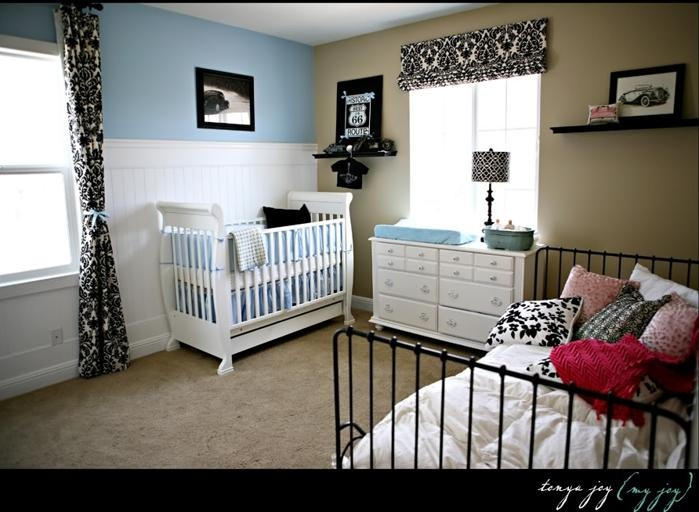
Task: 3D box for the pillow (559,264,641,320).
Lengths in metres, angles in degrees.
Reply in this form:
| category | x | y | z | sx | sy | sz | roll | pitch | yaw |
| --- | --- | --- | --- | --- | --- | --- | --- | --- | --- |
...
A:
| category | x | y | z | sx | sy | sz | roll | pitch | yaw |
| --- | --- | --- | --- | --- | --- | --- | --- | --- | --- |
| pillow | 1.485 | 0.253 | 2.959 | 0.301 | 0.306 | 0.131 | 18 | -14 | 34 |

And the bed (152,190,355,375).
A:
| category | x | y | z | sx | sy | sz | roll | pitch | yaw |
| --- | --- | --- | --- | --- | --- | --- | --- | --- | --- |
| bed | -0.772 | 0.071 | 4.271 | 0.942 | 1.214 | 1.591 | 10 | 16 | 42 |

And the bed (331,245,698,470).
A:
| category | x | y | z | sx | sy | sz | roll | pitch | yaw |
| --- | --- | --- | --- | --- | --- | --- | --- | --- | --- |
| bed | 0.924 | 0.508 | 2.613 | 1.066 | 0.697 | 1.081 | 3 | 11 | 38 |

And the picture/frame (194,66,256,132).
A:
| category | x | y | z | sx | sy | sz | roll | pitch | yaw |
| --- | --- | --- | --- | --- | --- | --- | --- | --- | --- |
| picture/frame | -1.099 | -1.361 | 4.231 | 0.043 | 0.516 | 0.619 | 14 | 17 | 43 |

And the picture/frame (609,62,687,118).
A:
| category | x | y | z | sx | sy | sz | roll | pitch | yaw |
| --- | --- | --- | --- | --- | --- | --- | --- | --- | --- |
| picture/frame | 2.007 | -1.094 | 3.239 | 0.402 | 0.288 | 0.031 | 4 | 8 | 36 |

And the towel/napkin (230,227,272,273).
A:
| category | x | y | z | sx | sy | sz | roll | pitch | yaw |
| --- | --- | --- | --- | --- | --- | --- | --- | --- | --- |
| towel/napkin | -0.724 | -0.042 | 3.605 | 0.300 | 0.307 | 0.098 | -18 | 14 | -41 |

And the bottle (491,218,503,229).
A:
| category | x | y | z | sx | sy | sz | roll | pitch | yaw |
| --- | --- | --- | --- | --- | --- | --- | --- | --- | --- |
| bottle | 1.142 | -0.234 | 3.758 | 0.118 | 0.062 | 0.119 | -2 | 10 | 0 |
